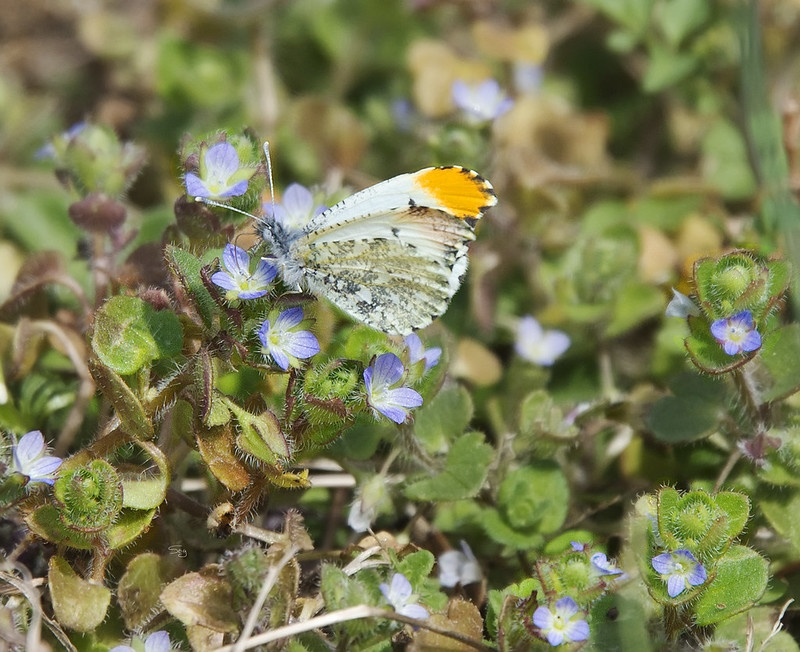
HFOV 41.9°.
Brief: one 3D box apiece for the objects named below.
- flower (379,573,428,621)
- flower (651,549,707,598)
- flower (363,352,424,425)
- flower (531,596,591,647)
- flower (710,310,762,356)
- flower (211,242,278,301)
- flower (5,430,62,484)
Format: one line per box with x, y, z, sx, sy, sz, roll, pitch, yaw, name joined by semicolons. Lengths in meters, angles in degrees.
0.005;0.723;2.738;0.128;0.044;0.114;54;41;-6;flower
0.733;0.651;2.750;0.108;0.087;0.115;-19;73;-13;flower
-0.028;0.189;2.867;0.144;0.176;0.172;-37;77;-18;flower
0.413;0.782;2.708;0.140;0.096;0.119;-14;71;-12;flower
0.916;0.032;2.855;0.126;0.100;0.113;-10;70;-10;flower
-0.422;-0.140;2.847;0.150;0.178;0.177;9;68;-2;flower
-0.970;0.361;2.763;0.117;0.084;0.145;-11;70;-41;flower
